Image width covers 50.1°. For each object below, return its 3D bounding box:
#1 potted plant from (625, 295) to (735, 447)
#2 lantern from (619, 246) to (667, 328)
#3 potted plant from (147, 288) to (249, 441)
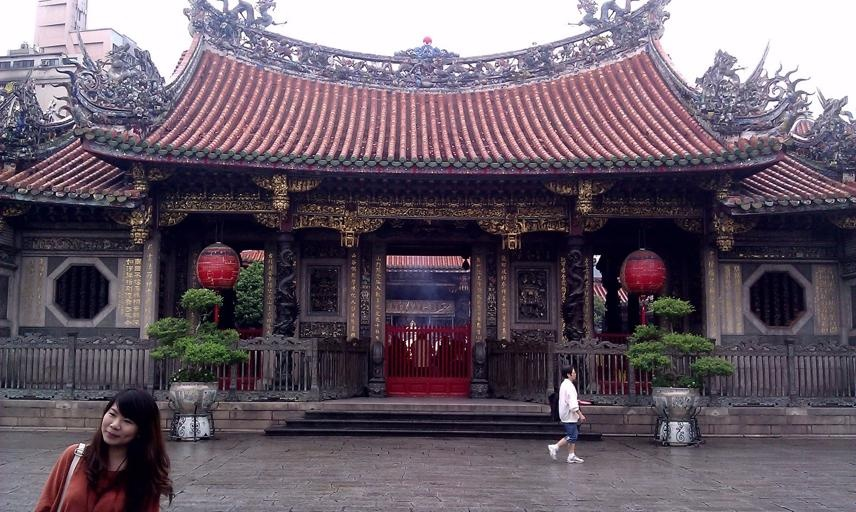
[{"bbox_3d":[5.848,2.762,22.228,2.403,3.531,1.631,0,1,-2],"label":"potted plant"},{"bbox_3d":[5.612,0.440,23.848,1.262,1.179,1.141,-4,-1,-8],"label":"lantern"},{"bbox_3d":[-5.805,2.569,22.078,2.652,3.499,2.928,7,-5,-39],"label":"potted plant"}]
